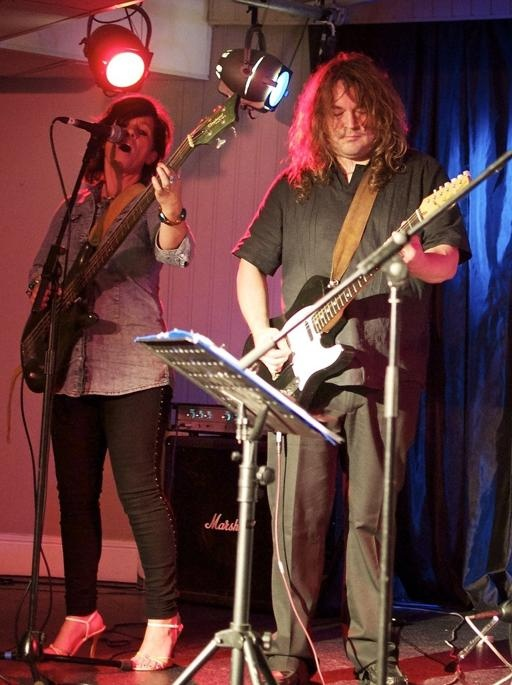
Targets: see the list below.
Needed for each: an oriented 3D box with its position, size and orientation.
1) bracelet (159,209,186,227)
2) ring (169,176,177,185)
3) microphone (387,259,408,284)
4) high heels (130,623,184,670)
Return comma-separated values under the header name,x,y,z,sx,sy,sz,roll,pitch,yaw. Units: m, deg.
name,x,y,z,sx,sy,sz,roll,pitch,yaw
bracelet,-0.258,-0.380,2.209,0.082,0.055,0.096,2,-4,-8
ring,-0.237,-0.462,2.055,0.023,0.007,0.017,-12,-19,29
microphone,0.247,-0.124,1.264,0.034,0.047,0.033,0,-4,16
high heels,-0.306,0.920,2.219,0.157,0.143,0.095,2,-4,-15
